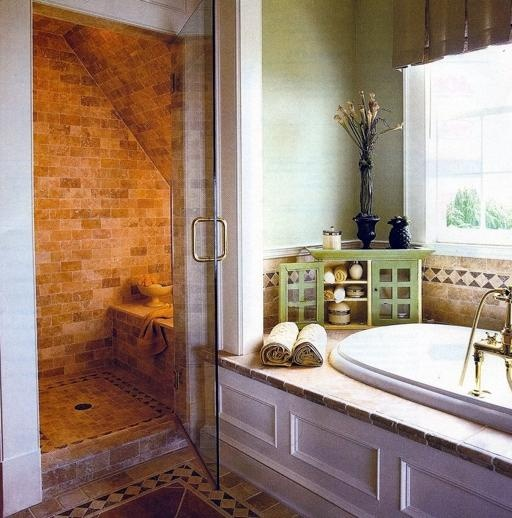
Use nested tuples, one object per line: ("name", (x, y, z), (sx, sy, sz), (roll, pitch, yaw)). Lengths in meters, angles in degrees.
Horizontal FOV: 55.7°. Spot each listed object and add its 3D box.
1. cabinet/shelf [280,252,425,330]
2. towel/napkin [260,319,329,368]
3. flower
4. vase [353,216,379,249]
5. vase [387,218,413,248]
("cabinet/shelf", (0.582, 0.167, 2.911), (0.863, 0.452, 0.330), (-2, 7, -1))
("towel/napkin", (0.197, 0.416, 2.365), (0.280, 0.129, 0.349), (0, 7, 12))
("flower", (0.688, -0.665, 2.965), (0.403, 0.798, 0.512), (0, 6, 10))
("vase", (0.676, -0.168, 2.986), (0.162, 0.195, 0.185), (0, -1, -38))
("vase", (0.850, -0.147, 2.883), (0.128, 0.196, 0.135), (1, -5, 7))
